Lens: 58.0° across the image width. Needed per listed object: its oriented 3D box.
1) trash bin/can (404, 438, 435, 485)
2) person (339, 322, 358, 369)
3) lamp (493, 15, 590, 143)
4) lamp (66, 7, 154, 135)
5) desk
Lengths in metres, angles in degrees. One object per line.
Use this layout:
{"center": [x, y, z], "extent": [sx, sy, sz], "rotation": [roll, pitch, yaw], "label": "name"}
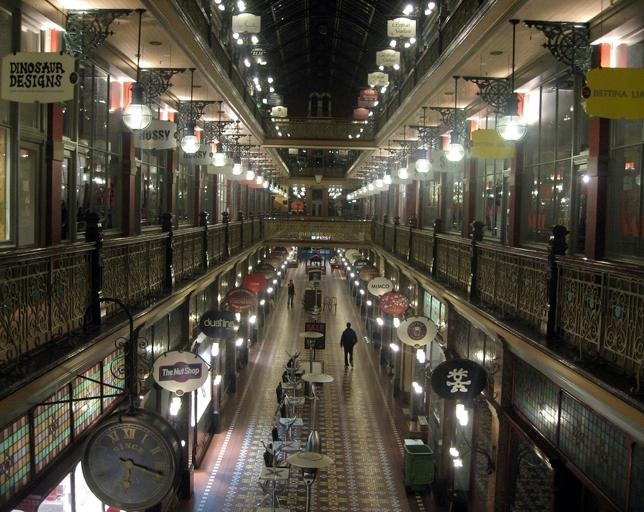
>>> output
{"center": [2.146, 4.579, 13.085], "extent": [0.529, 1.066, 0.909], "rotation": [0, -91, 0], "label": "trash bin/can"}
{"center": [0.993, 3.253, 21.933], "extent": [0.608, 0.481, 1.842], "rotation": [1, -68, 3], "label": "person"}
{"center": [2.874, -2.600, 7.824], "extent": [0.306, 0.878, 1.458], "rotation": [42, -121, -55], "label": "lamp"}
{"center": [-3.308, -2.848, 8.946], "extent": [1.279, 0.477, 2.158], "rotation": [5, -86, 4], "label": "lamp"}
{"center": [-0.349, 3.592, 15.140], "extent": [2.344, 2.504, 7.855], "rotation": [3, -88, -8], "label": "desk"}
